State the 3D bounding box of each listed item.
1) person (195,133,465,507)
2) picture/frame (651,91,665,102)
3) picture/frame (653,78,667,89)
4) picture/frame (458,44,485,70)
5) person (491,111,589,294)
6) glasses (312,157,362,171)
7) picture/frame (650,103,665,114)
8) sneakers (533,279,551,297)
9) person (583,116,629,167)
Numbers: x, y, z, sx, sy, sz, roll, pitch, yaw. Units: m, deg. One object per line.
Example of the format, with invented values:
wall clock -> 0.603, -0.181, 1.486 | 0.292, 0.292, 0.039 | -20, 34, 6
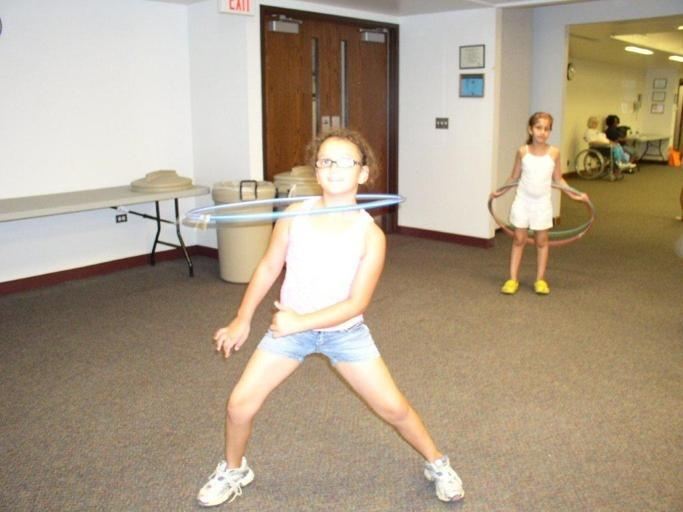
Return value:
person -> -0.076, 0.350, 2.148 | 1.187, 1.719, 0.532 | -3, 15, -10
picture/frame -> 10.752, -5.427, 17.132 | 0.382, 0.321, 0.049 | 4, 13, 23
picture/frame -> 10.760, -5.845, 17.078 | 0.040, 0.331, 0.397 | -11, 13, -27
picture/frame -> 1.694, -2.569, 6.507 | 0.350, 0.305, 0.028 | 5, 10, 33
person -> 1.962, -0.524, 5.110 | 0.734, 1.784, 0.622 | 6, 16, 24
glasses -> -0.010, -0.365, 1.984 | 0.183, 0.044, 0.071 | 0, 16, 1
picture/frame -> 10.741, -5.029, 17.169 | 0.362, 0.345, 0.048 | 14, 29, 37
sneakers -> 2.062, 0.316, 5.227 | 0.108, 0.091, 0.214 | -2, 7, 9
person -> 6.820, -2.897, 12.926 | 1.124, 1.234, 0.951 | 7, 17, 27
